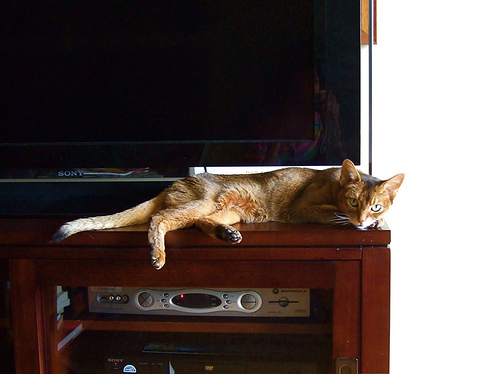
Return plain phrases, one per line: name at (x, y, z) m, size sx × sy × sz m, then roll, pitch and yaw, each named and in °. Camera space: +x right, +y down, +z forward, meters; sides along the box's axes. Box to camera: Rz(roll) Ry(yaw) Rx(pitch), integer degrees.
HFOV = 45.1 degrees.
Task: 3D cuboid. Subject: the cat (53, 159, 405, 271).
cat at (-0.004, 0.067, 2.281) m, size 1.097 × 0.338 × 0.535 m, roll -7°, pitch 29°, yaw -8°
